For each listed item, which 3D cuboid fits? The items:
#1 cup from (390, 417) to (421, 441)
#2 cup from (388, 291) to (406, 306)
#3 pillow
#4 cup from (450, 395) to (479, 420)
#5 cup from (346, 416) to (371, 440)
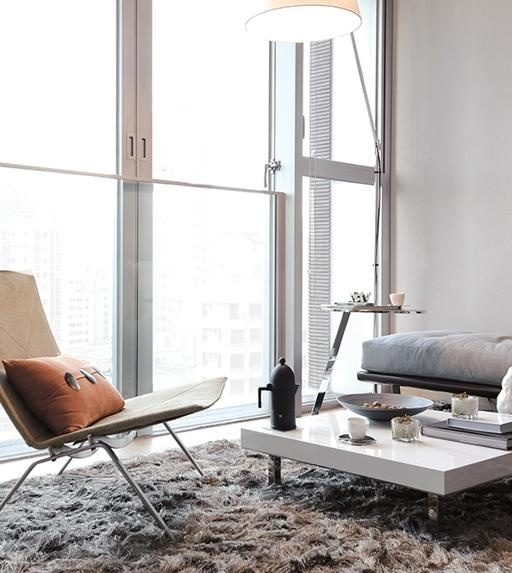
[{"bbox_3d":[0.481,0.457,1.819,0.091,0.059,0.070,-2,-4,7],"label":"cup"},{"bbox_3d":[0.827,0.067,3.243,0.106,0.083,0.096,0,-1,-23],"label":"cup"},{"bbox_3d":[-0.642,0.347,1.919,0.255,0.229,0.459,-2,-3,4],"label":"pillow"},{"bbox_3d":[0.731,0.422,1.987,0.088,0.071,0.086,0,-4,0],"label":"cup"},{"bbox_3d":[0.334,0.460,1.838,0.069,0.055,0.072,-1,-6,0],"label":"cup"}]
